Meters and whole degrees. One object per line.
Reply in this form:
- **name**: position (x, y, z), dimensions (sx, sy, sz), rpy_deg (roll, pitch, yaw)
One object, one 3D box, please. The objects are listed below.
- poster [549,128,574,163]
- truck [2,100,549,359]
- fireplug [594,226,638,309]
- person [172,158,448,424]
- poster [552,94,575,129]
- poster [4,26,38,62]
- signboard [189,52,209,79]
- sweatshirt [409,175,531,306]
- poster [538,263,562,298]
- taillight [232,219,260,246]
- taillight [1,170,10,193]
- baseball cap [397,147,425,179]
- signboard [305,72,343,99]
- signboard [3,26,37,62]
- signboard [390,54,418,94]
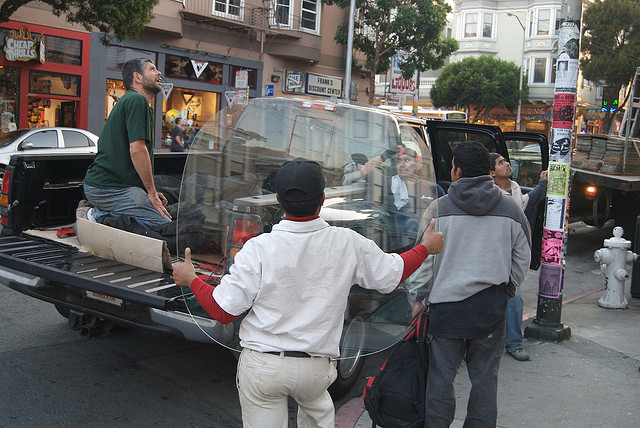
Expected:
- **poster**: position (2.893, -0.822, 6.596), dimensions (0.297, 0.584, 0.228), rpy_deg (5, -3, 16)
- **truck**: position (0.373, -0.094, 5.370), dimensions (4.469, 1.841, 3.383), rpy_deg (-9, 14, -43)
- **fireplug**: position (4.549, 0.830, 8.336), dimensions (0.526, 1.217, 0.629), rpy_deg (15, 19, 39)
- **person**: position (-0.099, 0.562, 3.754), dimensions (1.503, 1.845, 0.548), rpy_deg (-3, 15, -20)
- **poster**: position (2.951, -1.240, 6.548), dimensions (0.248, 0.407, 0.248), rpy_deg (8, 16, 22)
- **poster**: position (-10.333, -5.851, 18.621), dimensions (0.096, 1.383, 1.241), rpy_deg (9, 12, 41)
- **signboard**: position (-5.395, -6.609, 23.926), dimensions (0.153, 1.135, 1.149), rpy_deg (12, 17, 40)
- **sweatshirt**: position (1.244, 0.250, 4.623), dimensions (1.208, 1.194, 0.552), rpy_deg (0, 9, -11)
- **poster**: position (2.858, 0.827, 6.807), dimensions (0.319, 0.396, 0.311), rpy_deg (15, -9, -37)
- **taillight**: position (-0.603, 0.168, 4.609), dimensions (0.265, 0.261, 0.196), rpy_deg (0, -5, 2)
- **taillight**: position (-3.459, -0.358, 5.971), dimensions (0.050, 0.218, 0.205), rpy_deg (17, 12, -10)
- **baseball cap**: position (0.804, -0.455, 4.766), dimensions (0.247, 0.263, 0.097), rpy_deg (4, 15, 7)
- **signboard**: position (0.290, -6.681, 28.308), dimensions (2.661, 1.148, 0.174), rpy_deg (20, 26, 40)
- **signboard**: position (-10.352, -5.839, 18.610), dimensions (0.109, 1.330, 1.238), rpy_deg (10, 13, 42)
- **signboard**: position (3.860, -6.498, 24.869), dimensions (1.228, 2.167, 0.141), rpy_deg (4, -14, 3)
